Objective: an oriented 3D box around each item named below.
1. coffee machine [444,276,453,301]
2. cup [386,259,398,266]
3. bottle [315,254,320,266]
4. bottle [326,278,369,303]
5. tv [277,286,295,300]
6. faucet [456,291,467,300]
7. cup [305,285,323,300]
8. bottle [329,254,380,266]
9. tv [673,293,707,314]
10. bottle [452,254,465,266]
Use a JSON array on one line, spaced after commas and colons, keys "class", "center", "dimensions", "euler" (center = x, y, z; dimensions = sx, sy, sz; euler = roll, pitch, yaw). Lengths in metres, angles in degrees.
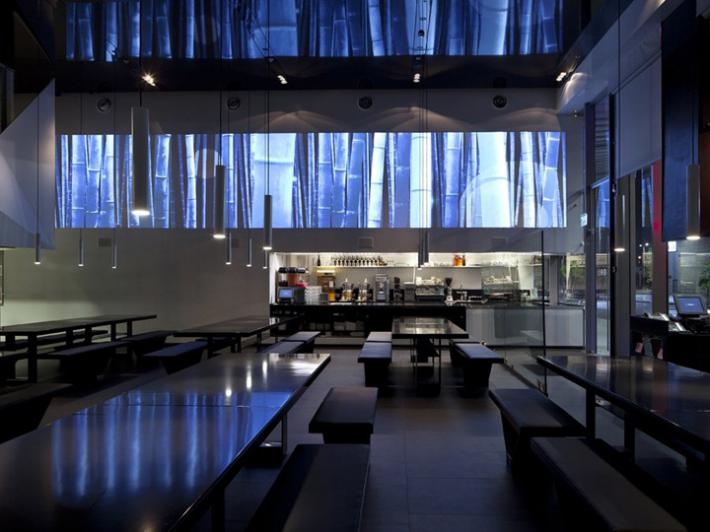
[{"class": "coffee machine", "center": [2.001, 0.487, 13.143], "dimensions": [0.177, 0.389, 0.326], "euler": [-3, 1, 14]}, {"class": "cup", "center": [0.794, -0.059, 13.186], "dimensions": [0.253, 0.128, 0.146], "euler": [-3, 1, 5]}, {"class": "bottle", "center": [-0.805, -0.104, 13.398], "dimensions": [0.156, 0.219, 0.042], "euler": [-2, 1, 35]}, {"class": "bottle", "center": [-0.159, 0.520, 13.277], "dimensions": [0.875, 0.421, 0.427], "euler": [-3, 1, 1]}, {"class": "tv", "center": [-1.453, 0.607, 12.811], "dimensions": [0.350, 0.268, 0.211], "euler": [-1, -15, 2]}, {"class": "faucet", "center": [2.291, 0.629, 13.172], "dimensions": [0.269, 0.182, 0.121], "euler": [-3, 1, 1]}, {"class": "cup", "center": [-0.901, 0.605, 12.984], "dimensions": [0.273, 0.307, 0.283], "euler": [1, 4, 0]}, {"class": "bottle", "center": [0.039, -0.109, 13.212], "dimensions": [1.142, 0.219, 0.296], "euler": [-3, 1, -5]}, {"class": "tv", "center": [4.709, 0.539, 8.570], "dimensions": [0.274, 0.228, 0.030], "euler": [3, -20, 8]}, {"class": "bottle", "center": [2.188, -0.116, 12.919], "dimensions": [0.215, 0.328, 0.090], "euler": [1, -3, -1]}]
